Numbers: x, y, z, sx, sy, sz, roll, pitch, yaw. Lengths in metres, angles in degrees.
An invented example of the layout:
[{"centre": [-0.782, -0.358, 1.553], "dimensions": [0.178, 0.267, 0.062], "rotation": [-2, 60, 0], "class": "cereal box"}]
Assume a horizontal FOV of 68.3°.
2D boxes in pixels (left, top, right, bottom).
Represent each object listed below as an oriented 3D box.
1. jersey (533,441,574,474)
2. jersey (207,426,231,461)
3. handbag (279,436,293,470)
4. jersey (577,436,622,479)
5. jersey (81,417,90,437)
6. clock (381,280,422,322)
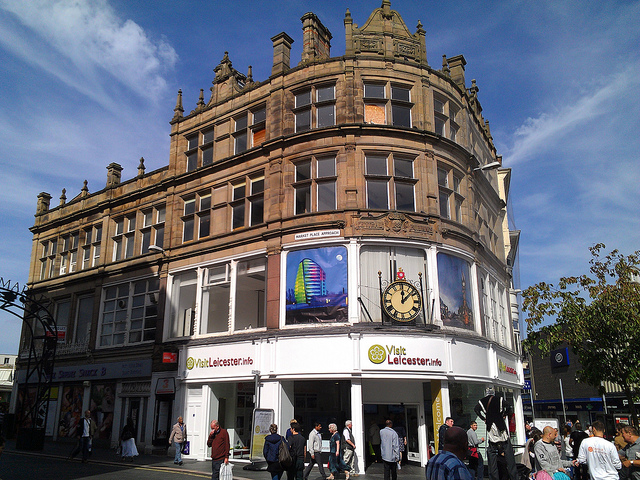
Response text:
[{"centre": [6.109, 5.593, 12.362], "dimensions": [0.778, 1.177, 0.865], "rotation": [-11, -20, 36], "class": "jersey"}, {"centre": [-3.018, 6.252, 14.360], "dimensions": [0.534, 0.866, 0.256], "rotation": [-3, -22, 9], "class": "jersey"}, {"centre": [-1.067, 6.675, 14.740], "dimensions": [0.489, 0.919, 0.380], "rotation": [20, -29, -39], "class": "handbag"}, {"centre": [6.932, 5.412, 11.690], "dimensions": [0.897, 0.940, 0.515], "rotation": [-13, -26, 29], "class": "jersey"}, {"centre": [-10.755, 8.676, 21.743], "dimensions": [0.245, 0.766, 0.355], "rotation": [18, -28, -37], "class": "jersey"}, {"centre": [3.862, 2.989, 22.514], "dimensions": [1.732, 1.963, 0.169], "rotation": [4, -20, -15], "class": "clock"}]
